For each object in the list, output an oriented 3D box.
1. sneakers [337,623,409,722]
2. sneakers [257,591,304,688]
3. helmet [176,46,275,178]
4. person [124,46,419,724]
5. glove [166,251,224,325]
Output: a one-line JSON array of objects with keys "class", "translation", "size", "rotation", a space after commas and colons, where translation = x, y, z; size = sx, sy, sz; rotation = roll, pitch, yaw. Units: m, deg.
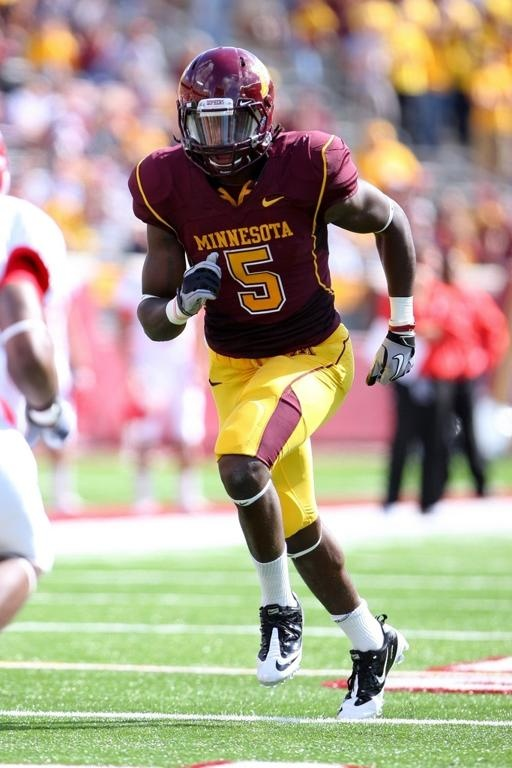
[{"class": "sneakers", "translation": [0.287, 0.741, 2.052], "size": [0.104, 0.126, 0.289], "rotation": [-18, 30, 43]}, {"class": "sneakers", "translation": [0.055, 0.608, 1.917], "size": [0.103, 0.189, 0.150], "rotation": [0, 1, 1]}, {"class": "helmet", "translation": [-0.070, -0.663, 1.972], "size": [0.280, 0.284, 0.346], "rotation": [-2, 27, 11]}, {"class": "person", "translation": [0.106, -0.022, 2.116], "size": [0.747, 1.741, 0.588], "rotation": [0, 2, -35]}, {"class": "glove", "translation": [-0.154, -0.213, 1.932], "size": [0.118, 0.139, 0.223], "rotation": [0, 1, -7]}]
